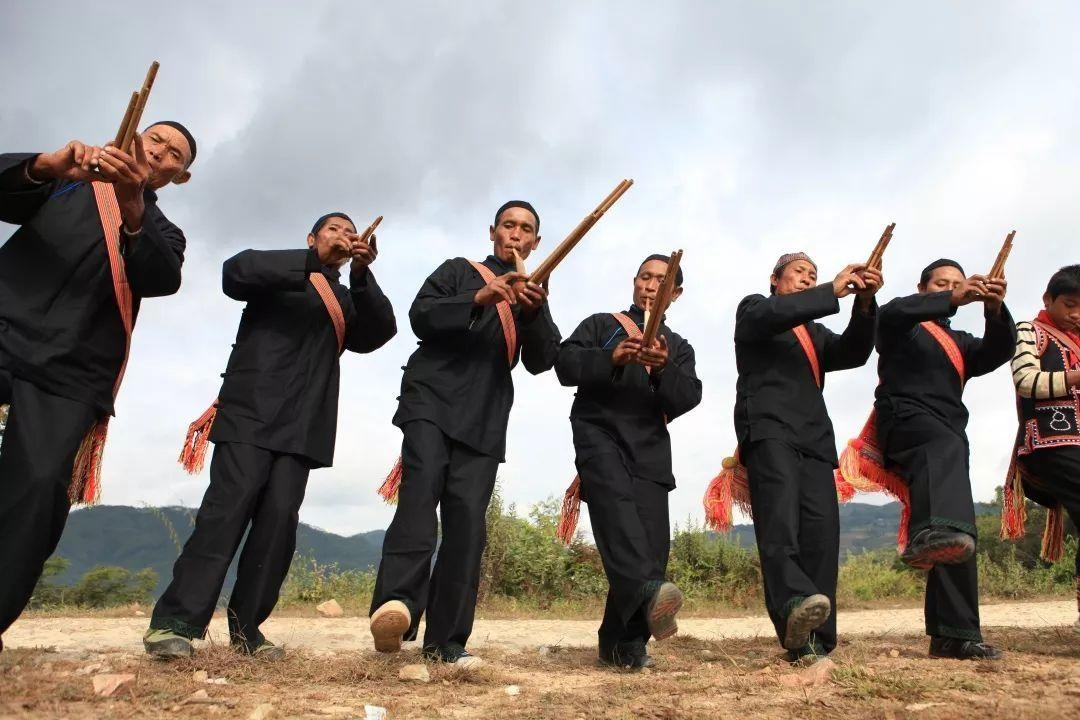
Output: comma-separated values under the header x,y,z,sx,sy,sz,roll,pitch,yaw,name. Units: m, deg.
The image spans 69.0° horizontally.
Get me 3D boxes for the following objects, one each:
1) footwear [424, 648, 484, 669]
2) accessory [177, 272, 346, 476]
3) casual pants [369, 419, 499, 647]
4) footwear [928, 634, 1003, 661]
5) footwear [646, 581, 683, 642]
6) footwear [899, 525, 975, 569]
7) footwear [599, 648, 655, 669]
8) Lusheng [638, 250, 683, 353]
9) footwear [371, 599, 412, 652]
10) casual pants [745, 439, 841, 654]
x,y,z,sx,sy,sz,roll,pitch,yaw,name
-0.638,2.126,5.609,0.440,0.183,0.164,-6,-24,32,footwear
-1.983,0.185,5.808,0.934,1.631,0.406,36,-8,-11,accessory
-0.765,1.280,5.828,0.839,1.619,0.373,6,-18,-12,casual pants
3.179,2.172,6.031,0.551,0.244,0.197,-4,-12,17,footwear
0.875,1.830,5.772,0.205,0.482,0.219,-3,21,-24,footwear
2.953,1.394,5.959,0.518,0.244,0.267,-21,-52,28,footwear
0.666,2.308,6.124,0.464,0.218,0.159,-8,-16,20,footwear
0.907,-0.457,6.120,0.116,0.882,0.094,9,23,-47,Lusheng
-1.041,1.852,5.464,0.226,0.163,0.441,3,-38,-8,footwear
1.951,1.374,5.979,0.658,1.545,0.517,0,-18,7,casual pants
